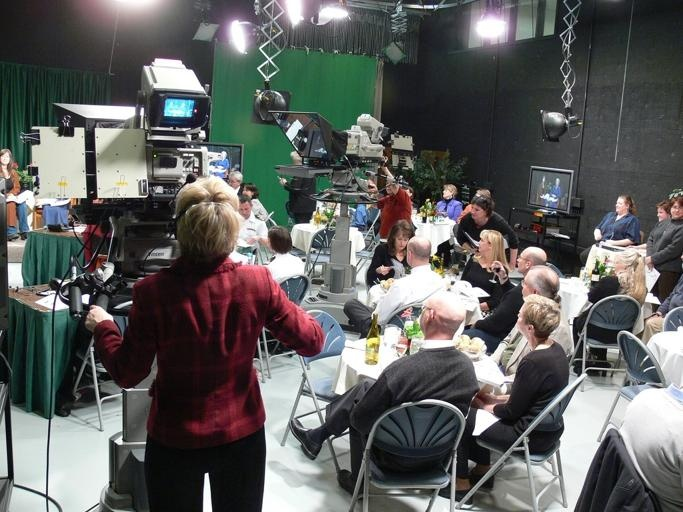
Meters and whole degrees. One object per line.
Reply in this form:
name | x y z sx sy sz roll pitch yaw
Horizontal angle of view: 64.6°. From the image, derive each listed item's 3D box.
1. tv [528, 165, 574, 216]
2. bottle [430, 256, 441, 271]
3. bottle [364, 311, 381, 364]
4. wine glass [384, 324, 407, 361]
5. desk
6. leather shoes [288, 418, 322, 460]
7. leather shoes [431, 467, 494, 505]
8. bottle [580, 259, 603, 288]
tv | 3.614 -1.108 9.255 0.075 0.719 0.770 -2 10 -26
bottle | 1.048 0.086 6.042 0.074 0.101 0.200 11 -15 6
bottle | 0.217 0.526 3.702 0.105 0.339 0.382 2 7 4
wine glass | 0.361 0.591 3.715 0.125 0.217 0.201 -1 -7 25
desk | -2.367 0.541 4.322 0.420 1.465 0.840 -9 -7 24
leather shoes | -0.261 1.306 3.918 0.111 0.150 0.338 15 17 -47
leather shoes | 0.853 1.555 3.610 0.469 0.213 0.151 4 5 29
bottle | 2.888 0.202 6.204 0.148 0.552 0.152 11 -7 1
